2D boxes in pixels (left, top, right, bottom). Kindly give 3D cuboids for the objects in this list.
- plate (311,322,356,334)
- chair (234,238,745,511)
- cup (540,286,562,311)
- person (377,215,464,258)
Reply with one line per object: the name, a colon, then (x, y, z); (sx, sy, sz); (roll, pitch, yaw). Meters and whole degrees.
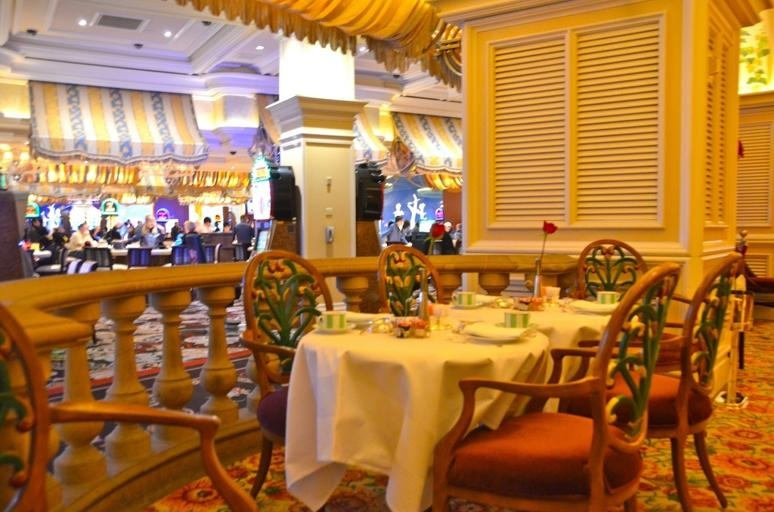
plate: (-0.242, 0.313, 2.541); (0.186, 0.086, 0.103); (0, 4, -9)
chair: (0.519, 0.590, 2.653); (1.499, 0.718, 1.017); (0, -2, -36)
cup: (0.939, 0.249, 3.118); (0.130, 0.129, 0.124); (3, -16, 1)
person: (0.800, -0.348, 12.315); (2.391, 1.245, 0.876); (0, 4, 30)
